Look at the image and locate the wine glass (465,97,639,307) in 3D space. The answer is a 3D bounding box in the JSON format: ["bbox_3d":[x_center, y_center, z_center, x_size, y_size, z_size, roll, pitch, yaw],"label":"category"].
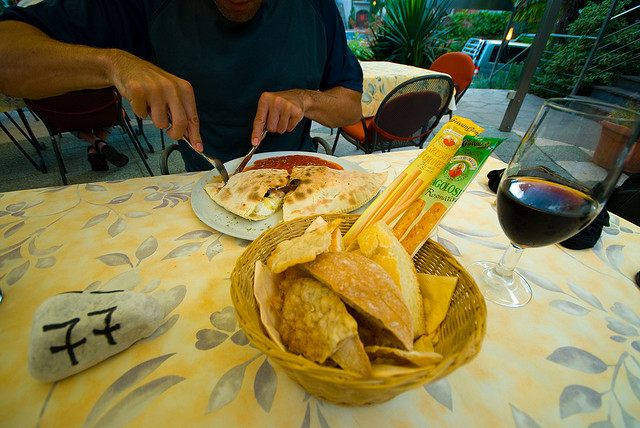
[{"bbox_3d":[0.576,-0.035,0.939,0.237,0.465,0.369,27,44,21],"label":"wine glass"}]

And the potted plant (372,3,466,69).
[{"bbox_3d":[1.370,-2.489,5.081,1.120,0.873,0.625,-4,42,-14],"label":"potted plant"}]

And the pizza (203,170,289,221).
[{"bbox_3d":[-0.229,-0.077,1.217,0.180,0.058,0.197,15,27,29],"label":"pizza"}]

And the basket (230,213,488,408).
[{"bbox_3d":[0.084,0.226,0.900,0.554,0.229,0.469,28,44,20],"label":"basket"}]

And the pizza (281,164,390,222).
[{"bbox_3d":[0.030,-0.085,1.251,0.249,0.053,0.213,-5,30,-12],"label":"pizza"}]

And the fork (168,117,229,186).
[{"bbox_3d":[-0.475,-0.260,1.471,0.413,0.060,0.059,50,9,-9],"label":"fork"}]

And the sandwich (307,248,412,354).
[{"bbox_3d":[0.107,0.185,0.827,0.278,0.105,0.109,29,45,22],"label":"sandwich"}]
